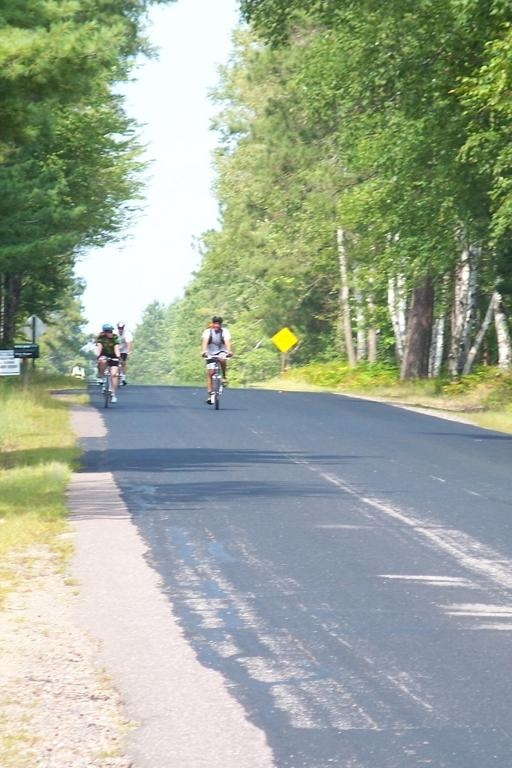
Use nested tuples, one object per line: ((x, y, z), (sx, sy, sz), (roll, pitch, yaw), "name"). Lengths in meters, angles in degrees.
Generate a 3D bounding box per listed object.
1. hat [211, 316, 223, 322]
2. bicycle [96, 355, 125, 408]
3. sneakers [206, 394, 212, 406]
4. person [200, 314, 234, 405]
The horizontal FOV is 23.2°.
((-0.777, -1.314, 25.077), (0.159, 0.081, 0.228), (1, 0, -5), "hat")
((-3.173, -0.115, 27.085), (0.562, 0.700, 1.241), (0, 2, -10), "bicycle")
((-0.979, 0.325, 26.430), (0.151, 0.218, 0.227), (1, -6, -6), "sneakers")
((-0.724, -0.785, 25.894), (0.444, 1.342, 2.238), (-10, -3, -6), "person")
